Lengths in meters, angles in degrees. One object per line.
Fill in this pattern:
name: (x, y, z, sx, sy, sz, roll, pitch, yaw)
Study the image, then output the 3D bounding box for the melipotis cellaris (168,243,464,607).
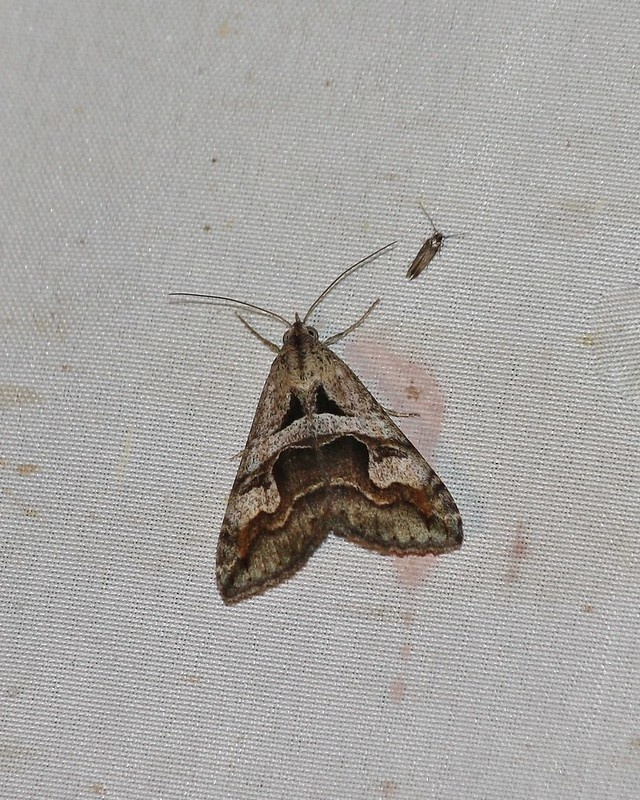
melipotis cellaris: (0.020, 0.224, 4.416, 0.983, 0.166, 0.996, -10, 82, -1)

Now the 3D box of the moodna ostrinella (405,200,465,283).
moodna ostrinella: (0.490, -0.658, 4.631, 0.272, 0.099, 0.333, 42, 62, -12)
